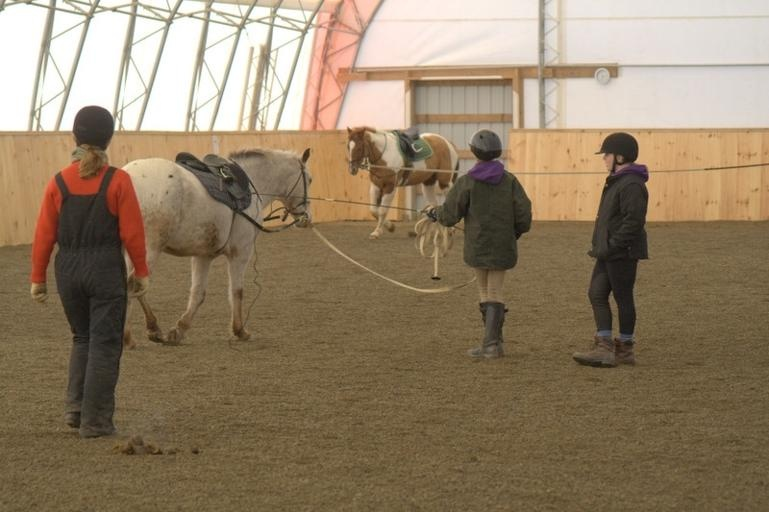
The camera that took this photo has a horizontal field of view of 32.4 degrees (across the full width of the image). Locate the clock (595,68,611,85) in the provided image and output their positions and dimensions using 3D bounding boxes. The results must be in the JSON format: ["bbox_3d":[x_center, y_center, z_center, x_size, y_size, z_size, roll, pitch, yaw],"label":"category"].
[{"bbox_3d":[4.849,-4.014,29.671,0.365,0.367,0.127,1,7,3],"label":"clock"}]

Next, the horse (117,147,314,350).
[{"bbox_3d":[-2.345,-0.133,17.298,1.042,2.697,3.674,-2,-3,42],"label":"horse"}]

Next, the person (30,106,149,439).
[{"bbox_3d":[-3.377,0.178,15.167,1.278,3.741,0.505,0,7,-11],"label":"person"}]

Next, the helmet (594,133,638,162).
[{"bbox_3d":[2.905,-1.377,16.620,0.475,0.262,0.336,7,1,11],"label":"helmet"}]

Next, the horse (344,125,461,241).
[{"bbox_3d":[0.360,-1.484,24.925,0.934,2.086,3.188,4,9,39],"label":"horse"}]

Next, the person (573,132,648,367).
[{"bbox_3d":[2.872,-0.073,16.515,0.752,2.881,0.394,2,7,11],"label":"person"}]

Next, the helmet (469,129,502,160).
[{"bbox_3d":[1.233,-1.397,16.733,0.339,0.291,0.421,-4,16,-19],"label":"helmet"}]

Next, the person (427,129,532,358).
[{"bbox_3d":[1.266,-0.155,16.783,1.039,2.849,0.532,4,7,27],"label":"person"}]
